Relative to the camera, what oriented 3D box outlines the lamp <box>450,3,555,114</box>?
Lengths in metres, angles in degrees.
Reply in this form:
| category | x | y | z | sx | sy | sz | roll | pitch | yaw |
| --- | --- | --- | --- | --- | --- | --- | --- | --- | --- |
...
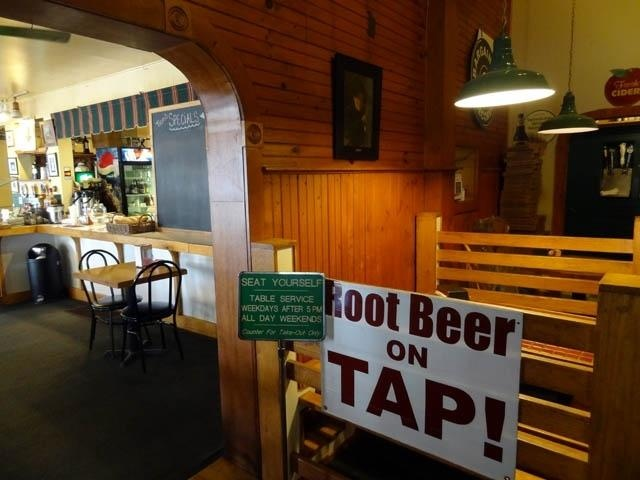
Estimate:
| category | x | y | z | sx | sy | sz | roll | pitch | yaw |
| --- | --- | --- | --- | --- | --- | --- | --- | --- | --- |
| lamp | 1.446 | -1.254 | 3.889 | 0.863 | 0.949 | 0.844 | -1 | 10 | 18 |

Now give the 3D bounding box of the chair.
| category | x | y | z | sx | sy | sz | roll | pitch | yaw |
| --- | --- | --- | --- | --- | --- | --- | --- | --- | --- |
| chair | -2.052 | 0.751 | 5.683 | 0.922 | 1.142 | 1.449 | -6 | 8 | -20 |

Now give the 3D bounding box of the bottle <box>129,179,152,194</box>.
| category | x | y | z | sx | sy | sz | roll | pitch | yaw |
| --- | --- | --- | --- | --- | --- | --- | --- | --- | --- |
| bottle | -3.217 | -0.933 | 8.541 | 0.148 | 0.302 | 0.575 | 2 | 2 | 7 |

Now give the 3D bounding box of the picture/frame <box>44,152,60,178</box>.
| category | x | y | z | sx | sy | sz | roll | pitch | yaw |
| --- | --- | --- | --- | --- | --- | --- | --- | --- | --- |
| picture/frame | -4.933 | -1.387 | 8.866 | 0.501 | 0.557 | 0.076 | 7 | 7 | 44 |

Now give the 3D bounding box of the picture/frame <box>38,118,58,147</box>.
| category | x | y | z | sx | sy | sz | roll | pitch | yaw |
| --- | --- | --- | --- | --- | --- | --- | --- | --- | --- |
| picture/frame | -4.975 | -1.983 | 8.805 | 0.549 | 0.726 | 0.076 | 4 | 8 | 32 |

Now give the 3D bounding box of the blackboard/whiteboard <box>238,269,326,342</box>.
| category | x | y | z | sx | sy | sz | roll | pitch | yaw |
| --- | --- | --- | --- | --- | --- | --- | --- | --- | --- |
| blackboard/whiteboard | -0.242 | 0.415 | 3.028 | 0.410 | 0.319 | 0.055 | 1 | 1 | 4 |

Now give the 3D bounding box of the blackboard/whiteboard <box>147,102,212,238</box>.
| category | x | y | z | sx | sy | sz | roll | pitch | yaw |
| --- | --- | --- | --- | --- | --- | --- | --- | --- | --- |
| blackboard/whiteboard | -1.741 | -0.893 | 6.023 | 0.084 | 1.717 | 1.643 | -9 | 12 | -44 |
